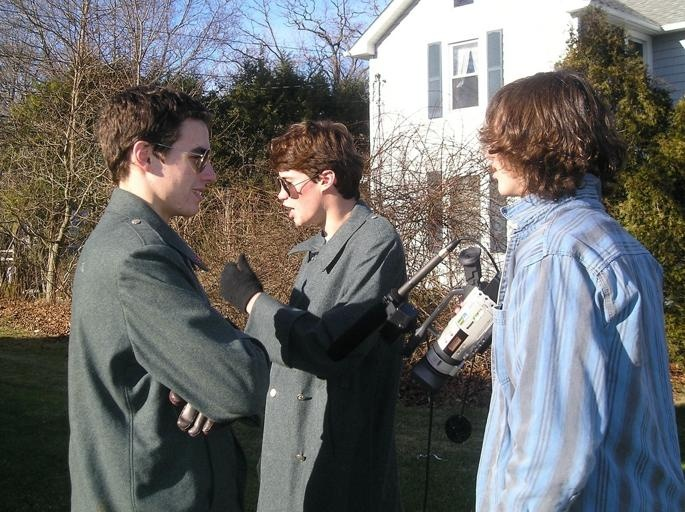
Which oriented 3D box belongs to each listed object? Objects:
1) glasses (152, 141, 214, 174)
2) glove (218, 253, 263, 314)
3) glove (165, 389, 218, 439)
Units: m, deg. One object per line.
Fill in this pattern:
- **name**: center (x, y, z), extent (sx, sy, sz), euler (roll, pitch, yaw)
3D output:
- **glasses**: center (-0.720, -0.469, 3.357), extent (0.161, 0.062, 0.134), euler (21, 3, 15)
- **glove**: center (-0.502, 0.153, 3.786), extent (0.226, 0.289, 0.119), euler (-42, -22, 18)
- **glove**: center (-0.621, 0.639, 3.026), extent (0.176, 0.184, 0.074), euler (35, 42, 11)
